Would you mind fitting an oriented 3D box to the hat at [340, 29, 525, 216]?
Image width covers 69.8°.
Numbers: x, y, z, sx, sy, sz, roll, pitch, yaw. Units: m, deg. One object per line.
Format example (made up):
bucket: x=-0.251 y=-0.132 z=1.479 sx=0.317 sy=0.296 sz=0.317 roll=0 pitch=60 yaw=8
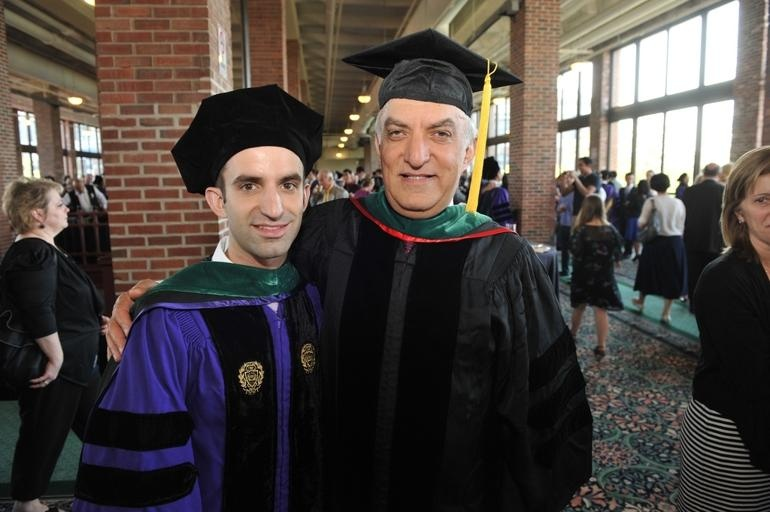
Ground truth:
hat: x=0.276 y=-0.655 z=2.993 sx=1.020 sy=0.785 sz=0.900 roll=6 pitch=-5 yaw=17
